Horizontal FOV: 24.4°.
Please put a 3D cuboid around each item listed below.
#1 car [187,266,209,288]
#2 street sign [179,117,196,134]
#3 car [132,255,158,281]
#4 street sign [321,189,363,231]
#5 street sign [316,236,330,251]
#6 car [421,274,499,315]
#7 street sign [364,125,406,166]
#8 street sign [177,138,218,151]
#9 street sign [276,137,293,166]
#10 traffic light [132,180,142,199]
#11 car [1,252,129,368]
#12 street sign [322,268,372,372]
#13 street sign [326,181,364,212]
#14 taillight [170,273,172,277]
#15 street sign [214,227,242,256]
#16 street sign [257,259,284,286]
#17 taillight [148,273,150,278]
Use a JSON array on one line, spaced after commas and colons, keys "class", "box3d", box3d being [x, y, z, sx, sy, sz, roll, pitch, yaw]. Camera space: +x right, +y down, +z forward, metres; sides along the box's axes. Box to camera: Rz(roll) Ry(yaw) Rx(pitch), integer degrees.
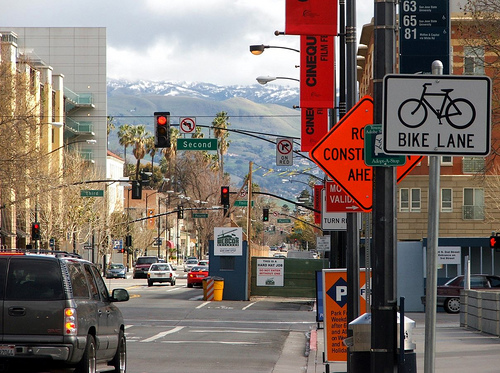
[{"class": "car", "box3d": [-3.178, 5.429, 69.562, 0.972, 0.776, 1.674, 0, 2, 1]}, {"class": "street sign", "box3d": [-2.645, -2.652, 48.401, 0.606, 0.742, 2.203, 0, -5, -6]}, {"class": "car", "box3d": [-7.684, 5.719, 82.916, 1.097, 1.121, 2.174, -1, -7, 2]}, {"class": "street sign", "box3d": [2.497, 0.612, 31.572, 1.141, 1.097, 0.113, 1, 1, 5]}, {"class": "street sign", "box3d": [3.286, 2.539, 52.103, 0.177, 1.026, 1.174, 2, -6, -22]}, {"class": "car", "box3d": [9.330, 4.530, 49.016, 2.390, 1.711, 3.669, 0, -5, 1]}, {"class": "street sign", "box3d": [3.145, -0.929, 26.737, 0.941, 0.976, 0.097, 1, -1, 8]}, {"class": "street sign", "box3d": [-2.244, -1.821, 48.910, 1.628, 0.595, 1.763, -1, -5, 4]}, {"class": "street sign", "box3d": [1.585, -1.648, 53.392, 0.775, 1.343, 1.356, 0, -5, 1]}, {"class": "traffic light", "box3d": [-7.007, 0.144, 71.337, 0.807, 1.445, 0.785, -2, 38, -5]}, {"class": "car", "box3d": [-4.938, 3.332, 31.387, 2.256, 1.830, 3.442, -1, 0, 16]}, {"class": "street sign", "box3d": [2.315, 3.645, 31.740, 0.661, 2.796, 0.376, 0, -4, 2]}, {"class": "street sign", "box3d": [2.495, 0.264, 30.118, 0.776, 0.686, 0.106, 1, 4, 37]}, {"class": "taillight", "box3d": [-4.844, 5.349, 70.749, 0.081, 0.212, 0.347, -1, -5, 7]}, {"class": "street sign", "box3d": [-1.133, 2.845, 59.594, 1.378, 1.417, 0.150, 1, -14, 2]}, {"class": "street sign", "box3d": [1.009, 4.428, 59.957, 1.331, 1.266, 0.139, -1, -14, -5]}, {"class": "taillight", "box3d": [-6.196, 5.408, 70.722, 0.058, 0.208, 0.215, 2, -5, -24]}]
